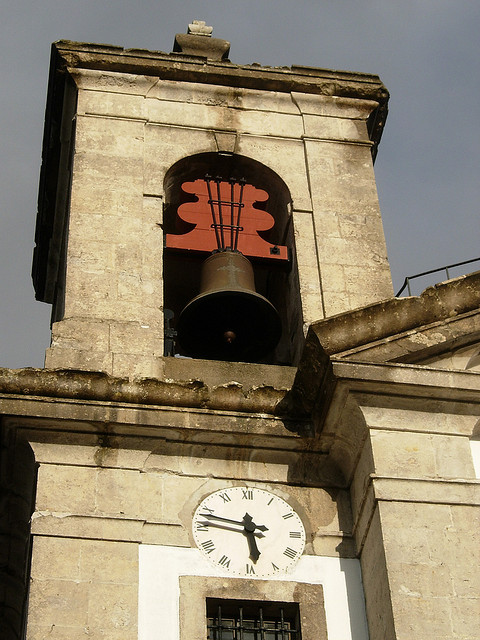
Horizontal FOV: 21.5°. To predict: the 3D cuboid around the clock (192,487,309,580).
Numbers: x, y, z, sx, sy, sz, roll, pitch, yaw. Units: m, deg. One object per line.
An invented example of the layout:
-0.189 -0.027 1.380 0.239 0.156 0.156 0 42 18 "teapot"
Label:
0.082 2.084 12.304 1.115 0.102 1.338 1 -51 6 "clock"
